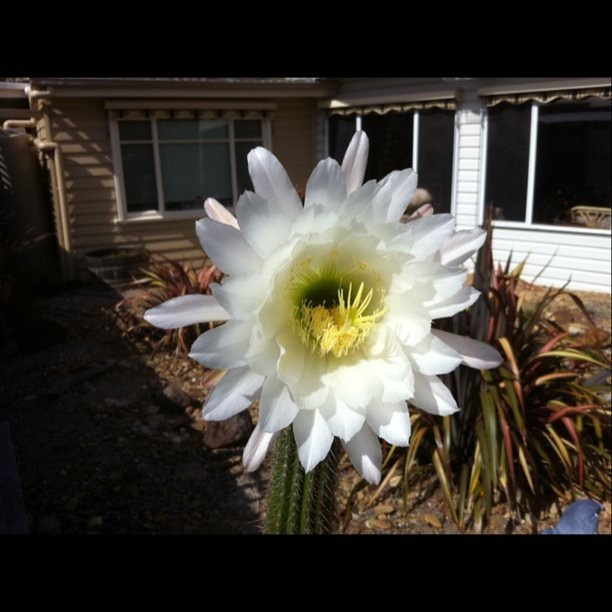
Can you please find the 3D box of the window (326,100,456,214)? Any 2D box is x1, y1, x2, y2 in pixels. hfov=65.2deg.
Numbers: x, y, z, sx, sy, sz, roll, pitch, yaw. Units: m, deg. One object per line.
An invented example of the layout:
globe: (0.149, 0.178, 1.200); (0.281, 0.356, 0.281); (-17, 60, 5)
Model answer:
window: (0.839, -1.497, 4.725); (1.265, 0.030, 1.556); (4, 59, 15)

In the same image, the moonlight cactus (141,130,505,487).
moonlight cactus: (0.016, 0.007, 0.491); (0.324, 0.356, 0.194); (-4, 12, -3)
